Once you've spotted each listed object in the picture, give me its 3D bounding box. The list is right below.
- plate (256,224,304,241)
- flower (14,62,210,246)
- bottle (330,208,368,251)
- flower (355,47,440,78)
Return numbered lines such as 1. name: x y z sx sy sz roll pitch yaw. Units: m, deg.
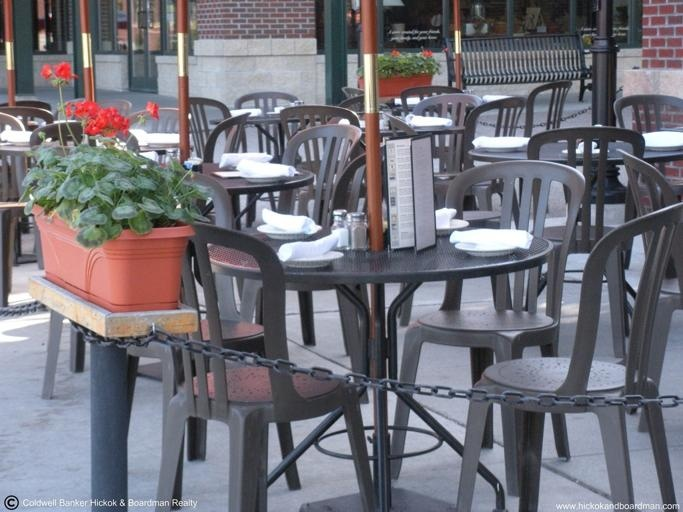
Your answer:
1. plate: -0.255 -0.092 4.893 0.201 0.065 0.118 4 13 29
2. flower: -0.819 -0.335 4.206 0.656 0.515 0.532 11 17 31
3. bottle: 0.025 -0.118 4.745 0.134 0.235 0.134 -2 11 0
4. flower: 0.641 -1.852 11.830 0.675 0.248 0.358 -8 12 -23
